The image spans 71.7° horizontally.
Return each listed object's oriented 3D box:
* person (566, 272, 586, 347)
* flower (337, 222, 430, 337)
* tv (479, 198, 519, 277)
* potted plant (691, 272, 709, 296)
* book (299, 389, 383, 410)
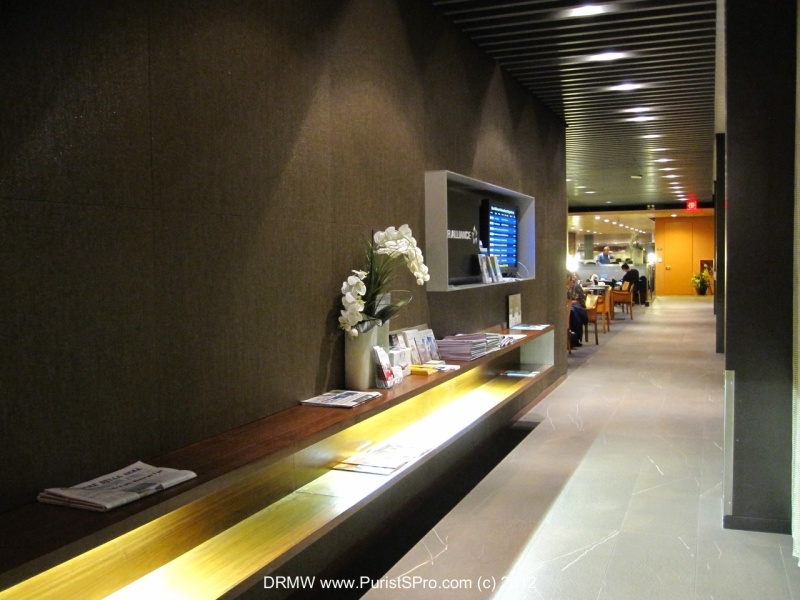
[{"bbox_3d":[3.573,0.189,11.136,0.366,1.365,2.059,0,4,18],"label":"person"},{"bbox_3d":[-0.088,-0.124,3.149,0.397,0.599,0.764,0,4,17],"label":"flower"},{"bbox_3d":[0.903,-0.585,5.131,0.132,0.666,0.733,0,-6,26],"label":"tv"},{"bbox_3d":[13.032,-0.676,23.748,0.596,0.988,0.623,-1,4,-5],"label":"potted plant"},{"bbox_3d":[-0.280,0.492,2.793,0.331,0.030,0.317,1,4,30],"label":"book"}]
